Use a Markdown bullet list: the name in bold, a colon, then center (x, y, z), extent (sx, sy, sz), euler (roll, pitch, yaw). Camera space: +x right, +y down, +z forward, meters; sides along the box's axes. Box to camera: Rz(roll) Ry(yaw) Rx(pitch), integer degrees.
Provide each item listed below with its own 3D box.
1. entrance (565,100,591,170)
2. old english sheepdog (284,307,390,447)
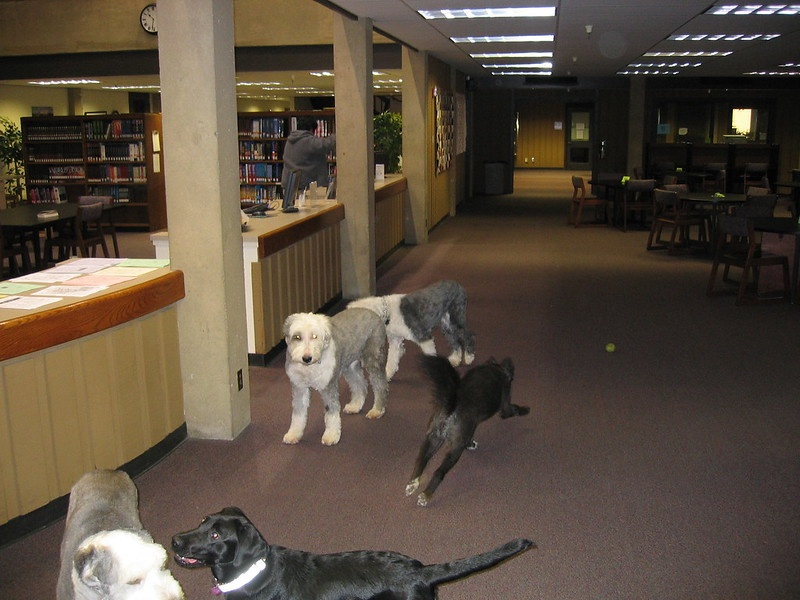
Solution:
- **entrance**: center (9.016, -8.023, 28.518), extent (1.263, 3.630, 0.392), euler (3, -17, 11)
- **old english sheepdog**: center (-0.468, 0.492, 4.070), extent (0.426, 0.954, 1.100), euler (9, 14, 31)
